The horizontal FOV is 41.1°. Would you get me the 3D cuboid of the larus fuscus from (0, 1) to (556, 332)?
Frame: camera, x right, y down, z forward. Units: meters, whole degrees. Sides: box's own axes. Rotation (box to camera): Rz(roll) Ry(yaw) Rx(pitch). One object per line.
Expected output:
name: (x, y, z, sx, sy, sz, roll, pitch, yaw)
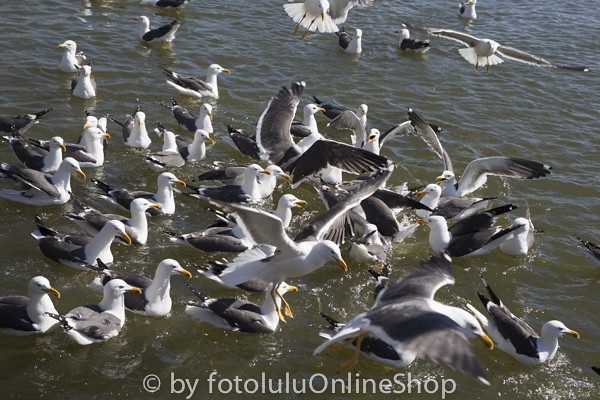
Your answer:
larus fuscus: (-1.894, -4.896, 31.950, 19.901, 0.832, 13.866, 1, 39, -11)
